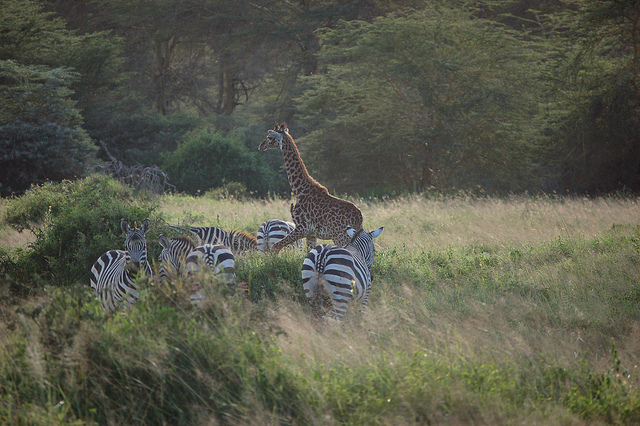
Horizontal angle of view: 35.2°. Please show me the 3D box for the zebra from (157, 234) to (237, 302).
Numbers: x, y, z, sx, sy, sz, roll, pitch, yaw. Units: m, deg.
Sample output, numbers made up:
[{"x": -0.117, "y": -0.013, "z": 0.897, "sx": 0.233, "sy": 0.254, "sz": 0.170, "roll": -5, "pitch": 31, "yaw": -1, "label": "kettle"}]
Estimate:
[{"x": -4.045, "y": 1.913, "z": 34.081, "sx": 3.222, "sy": 2.763, "sz": 1.090, "roll": -10, "pitch": -5, "yaw": 28, "label": "zebra"}]

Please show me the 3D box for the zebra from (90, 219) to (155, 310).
[{"x": -6.738, "y": 1.676, "z": 34.153, "sx": 2.225, "sy": 2.994, "sz": 1.245, "roll": 8, "pitch": 13, "yaw": 25, "label": "zebra"}]

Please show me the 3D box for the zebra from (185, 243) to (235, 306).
[{"x": -3.689, "y": 1.938, "z": 33.614, "sx": 1.646, "sy": 1.513, "sz": 1.658, "roll": 0, "pitch": 14, "yaw": -10, "label": "zebra"}]
